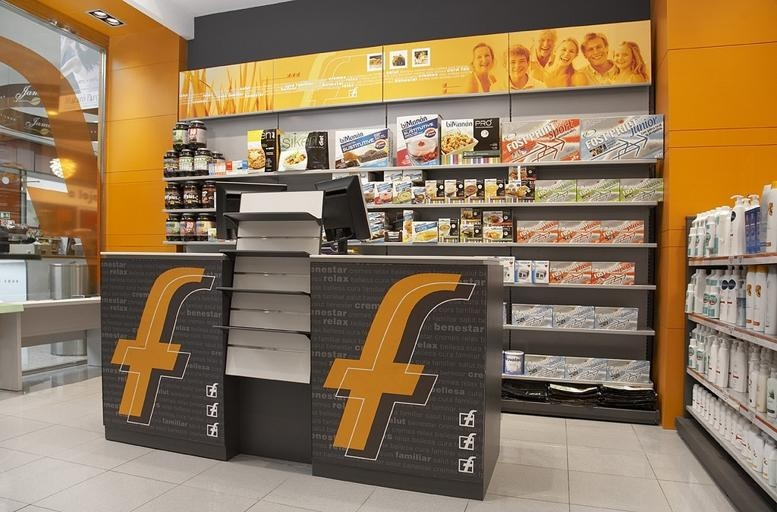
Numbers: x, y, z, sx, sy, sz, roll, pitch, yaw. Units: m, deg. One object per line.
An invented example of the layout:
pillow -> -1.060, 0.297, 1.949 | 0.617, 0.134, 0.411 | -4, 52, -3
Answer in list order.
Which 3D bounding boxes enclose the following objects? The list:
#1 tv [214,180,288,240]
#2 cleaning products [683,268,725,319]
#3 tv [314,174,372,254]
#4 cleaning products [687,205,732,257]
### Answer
tv -> -1.190, -0.414, 4.875 | 0.674, 0.518, 0.410 | 2, 4, 3
cleaning products -> 2.778, 0.329, 4.671 | 0.174, 0.410, 0.483 | 4, -1, 14
tv -> -0.405, -0.366, 4.643 | 0.535, 0.676, 0.270 | 3, 9, 14
cleaning products -> 2.786, -0.203, 4.622 | 0.160, 0.312, 0.516 | 0, 1, 13
